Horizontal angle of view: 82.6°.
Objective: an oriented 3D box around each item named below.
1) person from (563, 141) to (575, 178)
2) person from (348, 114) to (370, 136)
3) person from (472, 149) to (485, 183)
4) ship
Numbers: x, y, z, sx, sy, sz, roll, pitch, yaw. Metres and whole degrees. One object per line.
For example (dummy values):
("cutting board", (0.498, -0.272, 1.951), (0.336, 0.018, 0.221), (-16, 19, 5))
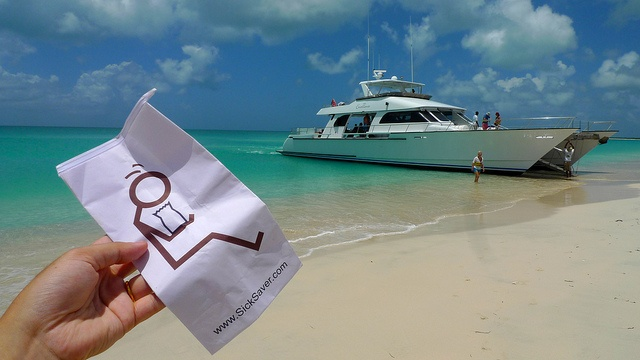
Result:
("person", (10.798, -0.913, 15.915), (0.374, 1.566, 0.768), (6, 14, 33))
("person", (2.213, -2.966, 19.893), (0.926, 1.143, 1.197), (0, 2, -36))
("person", (6.567, -0.586, 15.191), (0.344, 1.139, 1.903), (4, 11, 24))
("ship", (4.761, -2.978, 19.283), (15.097, 4.496, 4.004), (5, 5, 23))
